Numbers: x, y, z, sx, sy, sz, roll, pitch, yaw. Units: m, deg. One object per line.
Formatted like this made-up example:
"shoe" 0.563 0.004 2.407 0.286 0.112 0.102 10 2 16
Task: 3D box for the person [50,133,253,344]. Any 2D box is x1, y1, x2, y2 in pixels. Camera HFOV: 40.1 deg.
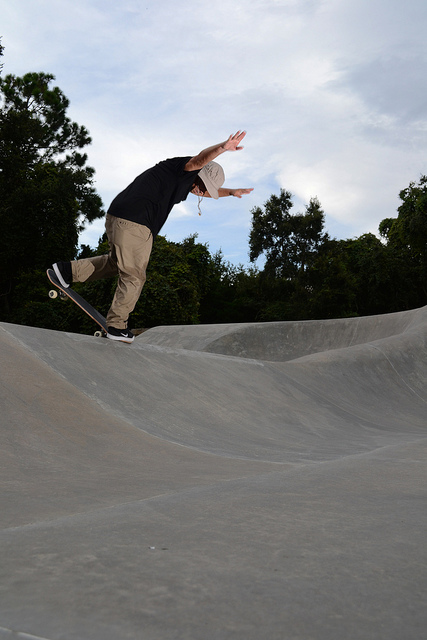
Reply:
"person" -0.455 -0.582 3.846 1.127 1.303 0.907 17 6 8
